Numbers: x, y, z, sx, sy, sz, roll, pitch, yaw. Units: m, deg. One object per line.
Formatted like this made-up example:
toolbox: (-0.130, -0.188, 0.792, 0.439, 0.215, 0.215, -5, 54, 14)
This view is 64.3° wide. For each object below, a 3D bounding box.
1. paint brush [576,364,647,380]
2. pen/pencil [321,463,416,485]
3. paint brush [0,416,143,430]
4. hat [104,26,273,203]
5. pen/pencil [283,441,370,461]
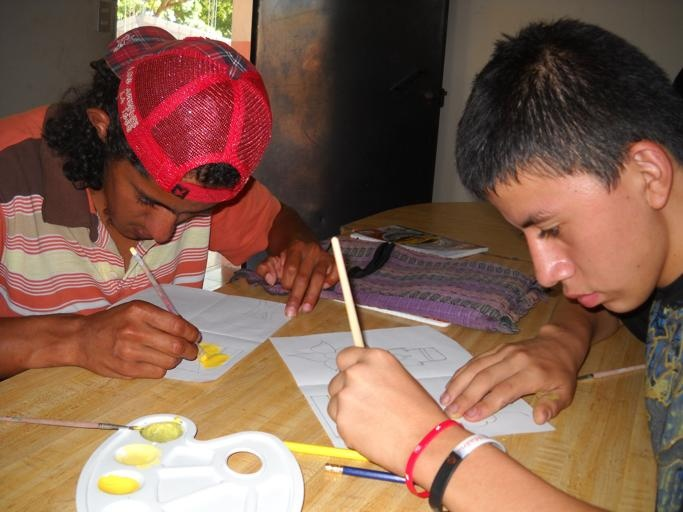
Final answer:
paint brush: (0.627, 0.271, 1.271, 0.143, 0.009, 0.019, -6, 32, -7)
pen/pencil: (0.048, 0.384, 0.960, 0.155, 0.019, 0.020, 9, -5, 1)
paint brush: (-0.512, 0.314, 1.023, 0.209, 0.009, 0.023, 0, 30, 6)
hat: (-0.357, -0.330, 1.360, 0.351, 0.381, 0.213, -7, 25, -20)
pen/pencil: (-0.027, 0.357, 0.995, 0.172, 0.029, 0.023, 7, -5, -3)
